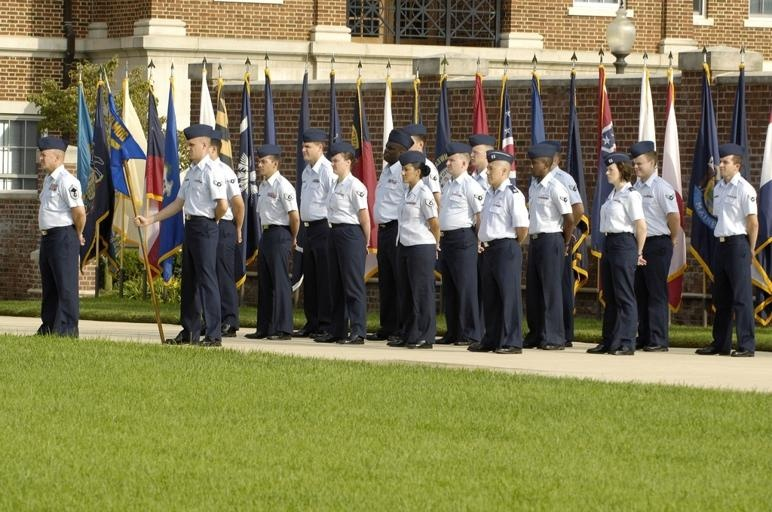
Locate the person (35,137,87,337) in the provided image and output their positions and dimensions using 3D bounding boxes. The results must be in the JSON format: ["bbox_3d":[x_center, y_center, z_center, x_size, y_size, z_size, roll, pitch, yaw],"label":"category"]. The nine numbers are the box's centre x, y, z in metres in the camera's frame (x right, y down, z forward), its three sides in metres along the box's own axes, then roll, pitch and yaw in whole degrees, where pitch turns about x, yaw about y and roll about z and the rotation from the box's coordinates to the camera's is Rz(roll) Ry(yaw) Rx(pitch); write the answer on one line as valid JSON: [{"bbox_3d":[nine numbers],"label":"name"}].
[{"bbox_3d":[-5.048,-0.323,25.187,0.786,3.021,0.553,1,5,18],"label":"person"}]

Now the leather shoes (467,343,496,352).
[{"bbox_3d":[1.510,1.395,25.536,0.407,0.176,0.154,5,-2,26],"label":"leather shoes"}]

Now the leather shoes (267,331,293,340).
[{"bbox_3d":[-1.701,1.237,26.320,0.358,0.153,0.143,7,-9,-28],"label":"leather shoes"}]

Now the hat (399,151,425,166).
[{"bbox_3d":[0.417,-1.553,25.464,0.286,0.165,0.237,-3,3,-5],"label":"hat"}]

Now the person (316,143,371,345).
[{"bbox_3d":[-0.624,-0.231,26.009,0.718,3.163,0.360,-1,4,-3],"label":"person"}]

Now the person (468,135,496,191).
[{"bbox_3d":[1.536,-1.493,25.817,0.434,0.987,0.880,1,2,-1],"label":"person"}]

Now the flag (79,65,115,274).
[{"bbox_3d":[-5.206,-1.551,29.423,0.607,3.253,1.714,-1,5,-10],"label":"flag"}]

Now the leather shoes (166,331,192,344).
[{"bbox_3d":[-3.161,1.203,25.200,0.488,0.216,0.169,0,-6,10],"label":"leather shoes"}]

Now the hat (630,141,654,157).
[{"bbox_3d":[4.066,-1.714,25.785,0.305,0.193,0.251,-2,-1,3],"label":"hat"}]

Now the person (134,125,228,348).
[{"bbox_3d":[-2.922,-0.357,25.195,0.977,3.344,0.664,-1,4,-6],"label":"person"}]

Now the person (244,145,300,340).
[{"bbox_3d":[-1.796,-0.258,26.389,0.806,3.087,0.494,1,5,19],"label":"person"}]

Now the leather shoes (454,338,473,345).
[{"bbox_3d":[1.281,1.310,26.193,0.243,0.102,0.096,2,-4,-2],"label":"leather shoes"}]

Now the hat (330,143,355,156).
[{"bbox_3d":[-0.692,-1.728,26.035,0.364,0.202,0.418,-1,5,-2],"label":"hat"}]

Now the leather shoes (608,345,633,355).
[{"bbox_3d":[3.690,1.411,25.309,0.270,0.120,0.144,4,-5,-7],"label":"leather shoes"}]

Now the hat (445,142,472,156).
[{"bbox_3d":[1.158,-1.697,25.717,0.436,0.220,0.304,-2,5,-19],"label":"hat"}]

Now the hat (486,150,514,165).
[{"bbox_3d":[1.783,-1.560,25.397,0.417,0.202,0.283,-1,5,-4],"label":"hat"}]

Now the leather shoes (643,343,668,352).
[{"bbox_3d":[4.305,1.411,25.834,0.305,0.135,0.134,7,-4,-3],"label":"leather shoes"}]

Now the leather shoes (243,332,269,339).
[{"bbox_3d":[-2.101,1.257,26.530,0.362,0.150,0.137,4,-4,0],"label":"leather shoes"}]

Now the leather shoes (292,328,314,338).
[{"bbox_3d":[-1.356,1.227,26.928,0.363,0.162,0.143,5,-4,-3],"label":"leather shoes"}]

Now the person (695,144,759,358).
[{"bbox_3d":[5.419,-0.126,25.458,0.732,3.242,0.454,2,5,32],"label":"person"}]

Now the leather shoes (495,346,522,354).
[{"bbox_3d":[1.931,1.408,25.306,0.337,0.145,0.144,6,-6,-18],"label":"leather shoes"}]

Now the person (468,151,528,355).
[{"bbox_3d":[1.813,-0.099,25.369,0.804,3.088,0.463,0,4,4],"label":"person"}]

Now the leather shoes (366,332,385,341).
[{"bbox_3d":[-0.188,1.260,26.728,0.336,0.146,0.121,4,-5,19],"label":"leather shoes"}]

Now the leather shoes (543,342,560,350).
[{"bbox_3d":[2.642,1.371,25.847,0.226,0.106,0.099,7,-4,-9],"label":"leather shoes"}]

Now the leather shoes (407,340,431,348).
[{"bbox_3d":[0.529,1.349,25.644,0.352,0.155,0.132,6,-7,-20],"label":"leather shoes"}]

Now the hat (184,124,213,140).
[{"bbox_3d":[-2.905,-1.946,25.305,0.258,0.116,0.310,-6,-6,44],"label":"hat"}]

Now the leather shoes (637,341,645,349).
[{"bbox_3d":[4.066,1.354,25.964,0.109,0.109,0.111,1,-4,-3],"label":"leather shoes"}]

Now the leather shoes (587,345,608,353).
[{"bbox_3d":[3.334,1.403,25.575,0.317,0.128,0.127,2,-4,-3],"label":"leather shoes"}]

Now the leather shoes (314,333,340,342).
[{"bbox_3d":[-0.941,1.273,26.241,0.403,0.170,0.149,4,1,25],"label":"leather shoes"}]

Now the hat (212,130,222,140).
[{"bbox_3d":[-2.669,-1.921,25.727,0.138,0.101,0.137,1,9,-25],"label":"hat"}]

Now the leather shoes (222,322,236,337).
[{"bbox_3d":[-2.554,1.139,26.617,0.282,0.281,0.145,4,0,-9],"label":"leather shoes"}]

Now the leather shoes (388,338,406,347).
[{"bbox_3d":[0.180,1.321,26.003,0.239,0.101,0.134,2,-3,9],"label":"leather shoes"}]

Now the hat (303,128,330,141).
[{"bbox_3d":[-1.146,-1.994,26.631,0.411,0.205,0.555,-1,5,0],"label":"hat"}]

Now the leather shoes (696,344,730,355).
[{"bbox_3d":[5.162,1.414,25.654,0.507,0.222,0.189,4,-2,15],"label":"leather shoes"}]

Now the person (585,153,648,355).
[{"bbox_3d":[3.646,-0.080,25.434,0.788,3.078,0.525,0,4,7],"label":"person"}]

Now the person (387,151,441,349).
[{"bbox_3d":[0.483,-0.138,25.670,0.716,3.052,0.412,0,4,8],"label":"person"}]

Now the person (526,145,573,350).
[{"bbox_3d":[2.581,-0.185,25.752,0.768,3.220,0.390,0,4,10],"label":"person"}]

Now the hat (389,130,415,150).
[{"bbox_3d":[0.241,-1.877,26.084,0.417,0.295,0.302,-3,5,-28],"label":"hat"}]

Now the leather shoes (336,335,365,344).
[{"bbox_3d":[-0.537,1.298,26.042,0.362,0.138,0.165,4,-6,-6],"label":"leather shoes"}]

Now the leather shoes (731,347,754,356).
[{"bbox_3d":[5.567,1.457,25.448,0.320,0.149,0.129,9,-7,-10],"label":"leather shoes"}]

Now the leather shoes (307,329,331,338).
[{"bbox_3d":[-1.111,1.203,26.505,0.328,0.147,0.125,1,-1,42],"label":"leather shoes"}]

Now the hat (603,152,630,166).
[{"bbox_3d":[3.628,-1.540,25.528,0.289,0.118,0.212,-1,-5,-8],"label":"hat"}]
